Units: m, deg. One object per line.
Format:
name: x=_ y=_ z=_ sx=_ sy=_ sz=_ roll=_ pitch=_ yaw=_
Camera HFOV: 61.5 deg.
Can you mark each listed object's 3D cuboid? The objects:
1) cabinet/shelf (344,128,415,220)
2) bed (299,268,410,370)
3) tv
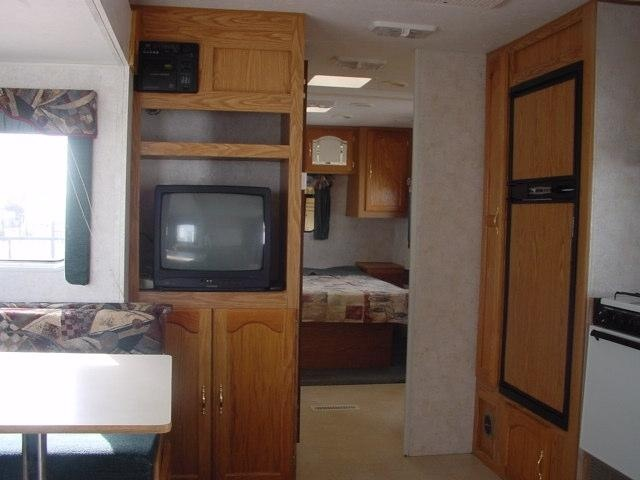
cabinet/shelf: x=0.678 y=-0.787 z=6.489 sx=1.017 sy=1.385 sz=0.918 roll=1 pitch=5 yaw=-4
bed: x=0.339 y=0.737 z=5.033 sx=0.969 sy=0.465 sz=0.880 roll=0 pitch=10 yaw=10
tv: x=-0.627 y=-0.019 z=3.249 sx=0.682 sy=0.596 sz=0.375 roll=1 pitch=8 yaw=-7
